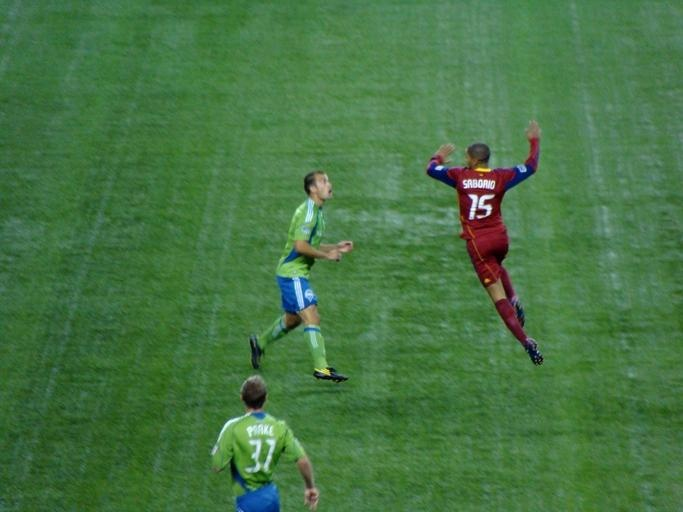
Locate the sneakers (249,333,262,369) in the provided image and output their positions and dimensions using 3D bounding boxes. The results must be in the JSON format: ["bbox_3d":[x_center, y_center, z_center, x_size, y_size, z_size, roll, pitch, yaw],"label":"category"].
[{"bbox_3d":[-1.119,1.268,17.731,0.216,0.146,0.450,-2,96,8],"label":"sneakers"}]

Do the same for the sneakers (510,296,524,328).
[{"bbox_3d":[2.293,0.740,17.738,0.126,0.469,0.151,-2,37,34],"label":"sneakers"}]

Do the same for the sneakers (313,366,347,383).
[{"bbox_3d":[-0.160,1.508,16.894,0.468,0.175,0.245,7,85,1],"label":"sneakers"}]
